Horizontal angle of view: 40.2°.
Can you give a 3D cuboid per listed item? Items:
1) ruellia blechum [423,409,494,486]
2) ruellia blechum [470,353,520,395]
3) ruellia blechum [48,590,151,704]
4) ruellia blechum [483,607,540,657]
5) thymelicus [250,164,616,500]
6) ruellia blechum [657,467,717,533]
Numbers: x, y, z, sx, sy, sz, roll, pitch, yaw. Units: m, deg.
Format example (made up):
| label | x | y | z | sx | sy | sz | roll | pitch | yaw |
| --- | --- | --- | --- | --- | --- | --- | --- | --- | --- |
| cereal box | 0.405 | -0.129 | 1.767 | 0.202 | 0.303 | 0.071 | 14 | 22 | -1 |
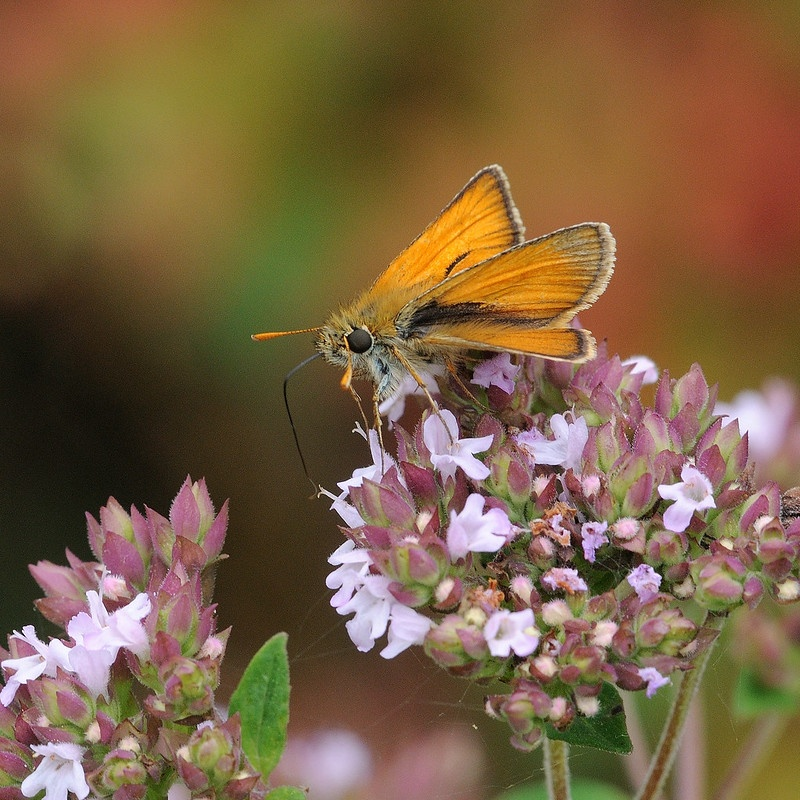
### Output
| label | x | y | z | sx | sy | sz | roll | pitch | yaw |
| --- | --- | --- | --- | --- | --- | --- | --- | --- | --- |
| ruellia blechum | 0.188 | 0.148 | 3.145 | 0.211 | 0.261 | 0.168 | -5 | -59 | -18 |
| ruellia blechum | 0.301 | -0.082 | 3.388 | 0.143 | 0.103 | 0.098 | -5 | -60 | -19 |
| ruellia blechum | -0.797 | 0.648 | 2.990 | 0.195 | 0.152 | 0.283 | 34 | -81 | -32 |
| ruellia blechum | 0.283 | 0.605 | 2.807 | 0.126 | 0.118 | 0.066 | -59 | -39 | -22 |
| thymelicus | 0.199 | -0.364 | 3.507 | 0.941 | 1.025 | 0.740 | -27 | -78 | 13 |
| ruellia blechum | 0.786 | 0.274 | 3.003 | 0.139 | 0.188 | 0.069 | 4 | -25 | 17 |
